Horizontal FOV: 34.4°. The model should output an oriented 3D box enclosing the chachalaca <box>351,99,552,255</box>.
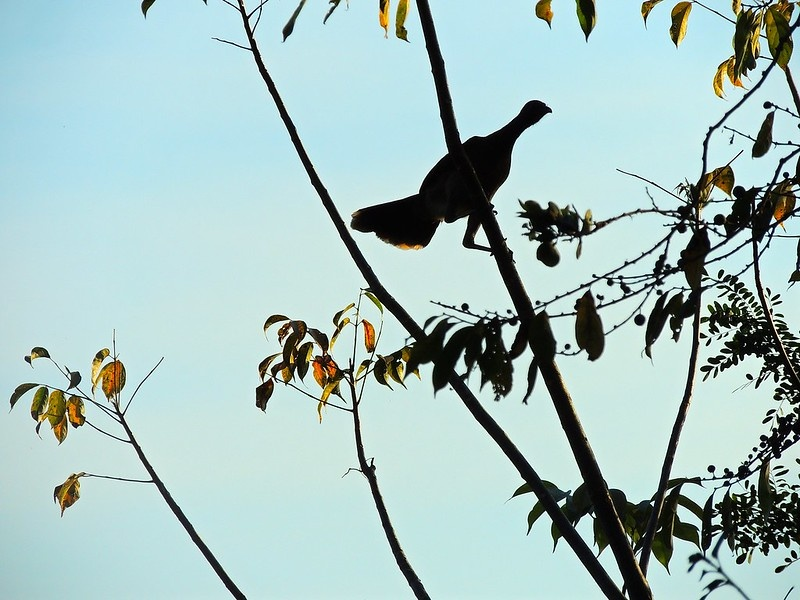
[{"bbox_3d":[0.201,-0.337,3.966,0.652,0.586,0.292,-10,-27,30],"label":"chachalaca"}]
